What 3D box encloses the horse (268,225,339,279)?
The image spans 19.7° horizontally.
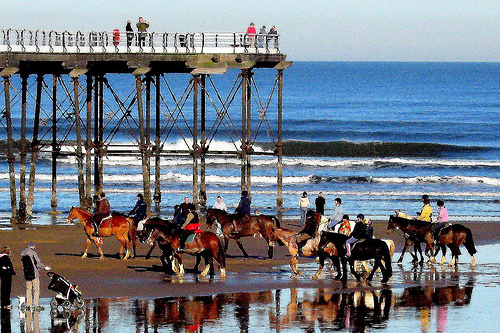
[{"bbox_3d":[3.114,4.601,80.615,4.345,2.724,1.070,2,10,20],"label":"horse"}]

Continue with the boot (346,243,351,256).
[{"bbox_3d":[5.414,4.365,79.248,0.265,0.704,0.104,2,11,11],"label":"boot"}]

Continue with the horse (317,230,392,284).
[{"bbox_3d":[5.869,4.837,79.360,3.737,2.627,0.771,3,11,14],"label":"horse"}]

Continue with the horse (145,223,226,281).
[{"bbox_3d":[-3.476,4.478,80.184,4.615,2.769,1.251,2,0,4],"label":"horse"}]

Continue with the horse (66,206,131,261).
[{"bbox_3d":[-8.306,3.614,82.030,3.084,2.853,1.829,5,12,25],"label":"horse"}]

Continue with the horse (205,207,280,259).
[{"bbox_3d":[-0.398,3.618,82.886,4.495,2.730,1.125,0,4,1],"label":"horse"}]
